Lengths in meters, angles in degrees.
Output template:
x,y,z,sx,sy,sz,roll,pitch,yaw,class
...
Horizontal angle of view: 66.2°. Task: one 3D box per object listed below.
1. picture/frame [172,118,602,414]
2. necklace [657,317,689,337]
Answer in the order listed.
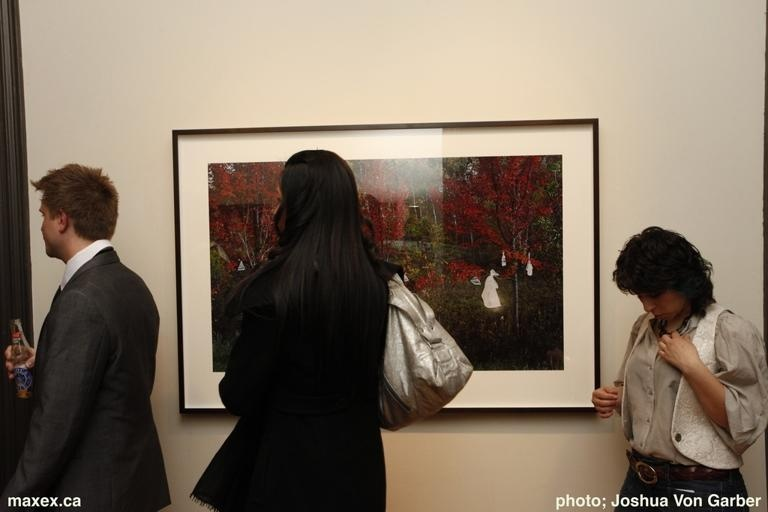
x,y,z,sx,sy,sz,roll,pitch,yaw,class
0.049,0.029,2.706,1.915,1.330,0.023,0,-5,-4,picture/frame
1.180,0.294,2.430,0.083,0.039,0.102,6,-33,-1,necklace
